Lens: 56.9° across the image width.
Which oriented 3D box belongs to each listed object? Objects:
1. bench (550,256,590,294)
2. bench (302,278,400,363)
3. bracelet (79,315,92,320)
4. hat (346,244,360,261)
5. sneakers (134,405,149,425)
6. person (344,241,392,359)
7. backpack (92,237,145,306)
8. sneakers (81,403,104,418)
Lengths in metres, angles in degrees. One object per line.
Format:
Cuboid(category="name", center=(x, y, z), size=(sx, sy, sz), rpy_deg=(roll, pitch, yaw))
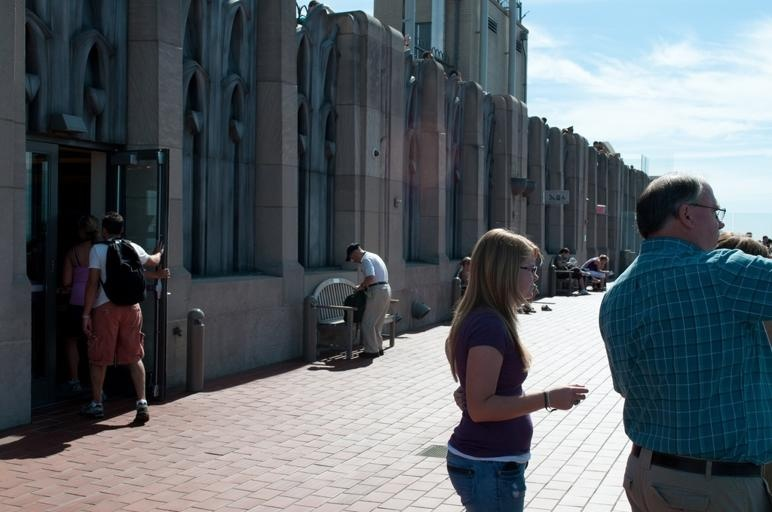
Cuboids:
Cuboid(category="bench", center=(7.342, 0.953, 28.430), size=(0.754, 1.351, 2.302), rpy_deg=(2, -1, 27))
Cuboid(category="bench", center=(-0.604, 1.135, 13.677), size=(0.863, 1.535, 2.443), rpy_deg=(-1, -1, 22))
Cuboid(category="bracelet", center=(-3.671, 0.748, 8.702), size=(0.114, 0.061, 0.141), rpy_deg=(2, -5, -6))
Cuboid(category="hat", center=(-0.604, -0.074, 12.980), size=(0.213, 0.281, 0.526), rpy_deg=(1, 3, -9))
Cuboid(category="sneakers", center=(-2.926, 1.901, 8.505), size=(0.103, 0.144, 0.295), rpy_deg=(1, -10, -9))
Cuboid(category="person", center=(-0.300, 0.822, 12.971), size=(0.791, 2.055, 0.529), rpy_deg=(1, 3, -11))
Cuboid(category="backpack", center=(-3.234, 0.196, 8.650), size=(0.537, 0.810, 0.346), rpy_deg=(0, 3, -28))
Cuboid(category="sneakers", center=(-3.572, 1.874, 8.667), size=(0.272, 0.134, 0.118), rpy_deg=(5, 3, 28))
